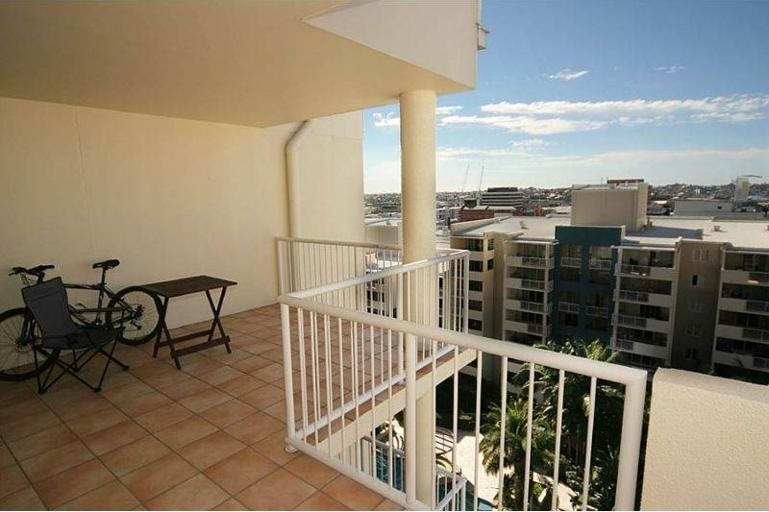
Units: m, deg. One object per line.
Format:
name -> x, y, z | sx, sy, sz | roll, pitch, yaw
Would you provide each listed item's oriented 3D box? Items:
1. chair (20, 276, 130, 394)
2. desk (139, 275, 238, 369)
chair -> -3.612, 0.920, 5.905 | 0.894, 1.187, 0.784 | 4, 12, -5
desk -> -2.560, 0.908, 6.722 | 0.783, 0.901, 1.094 | 2, 8, 43
